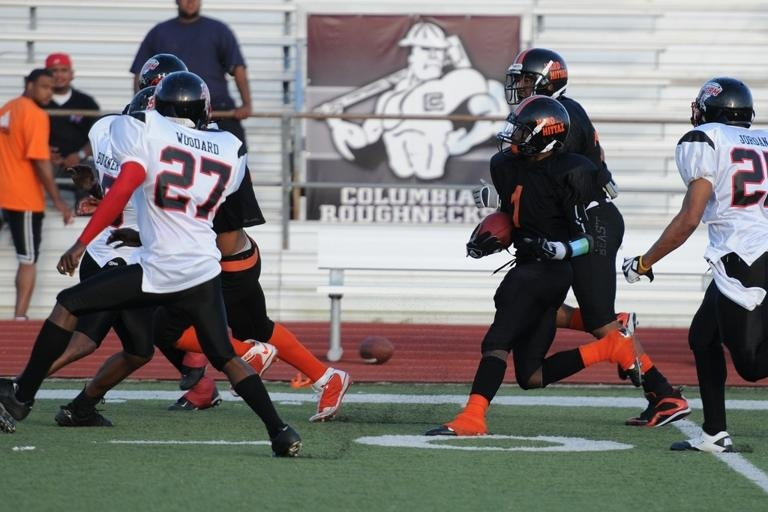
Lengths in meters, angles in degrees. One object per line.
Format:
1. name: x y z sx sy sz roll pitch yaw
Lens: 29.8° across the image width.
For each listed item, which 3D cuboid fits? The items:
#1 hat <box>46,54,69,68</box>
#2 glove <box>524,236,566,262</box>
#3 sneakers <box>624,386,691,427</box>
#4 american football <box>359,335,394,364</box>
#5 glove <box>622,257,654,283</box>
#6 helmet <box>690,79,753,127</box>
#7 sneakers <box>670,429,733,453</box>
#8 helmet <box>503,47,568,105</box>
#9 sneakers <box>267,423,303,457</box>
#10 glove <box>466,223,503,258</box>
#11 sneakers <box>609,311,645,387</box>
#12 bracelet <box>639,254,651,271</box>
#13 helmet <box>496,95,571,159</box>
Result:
1. hat: -3.102 -1.849 13.641 0.208 0.118 0.188 1 1 4
2. glove: 1.136 -0.053 10.257 0.254 0.133 0.096 14 -35 -1
3. sneakers: 2.099 1.101 10.664 0.606 0.244 0.194 -12 2 10
4. american football: -0.086 0.795 12.389 0.275 0.189 0.226 -7 -21 41
5. glove: 1.769 0.089 10.211 0.160 0.104 0.321 -3 -7 -9
6. helmet: 2.343 -1.074 10.020 0.360 0.327 0.405 2 7 -9
7. sneakers: 2.184 1.263 9.944 0.489 0.159 0.149 1 -7 10
8. helmet: 1.076 -1.372 10.999 0.526 0.326 0.404 -1 0 -11
9. sneakers: -0.647 1.214 9.579 0.203 0.213 0.137 -3 13 -18
10. glove: 0.747 -0.116 10.495 0.282 0.206 0.116 -38 -7 25
11. sneakers: 1.767 0.688 10.693 0.192 0.502 0.250 -10 8 43
12. bracelet: 1.813 0.038 10.065 0.085 0.094 0.037 -3 -26 -15
13. helmet: 1.053 -0.927 10.289 0.545 0.324 0.384 1 13 5
